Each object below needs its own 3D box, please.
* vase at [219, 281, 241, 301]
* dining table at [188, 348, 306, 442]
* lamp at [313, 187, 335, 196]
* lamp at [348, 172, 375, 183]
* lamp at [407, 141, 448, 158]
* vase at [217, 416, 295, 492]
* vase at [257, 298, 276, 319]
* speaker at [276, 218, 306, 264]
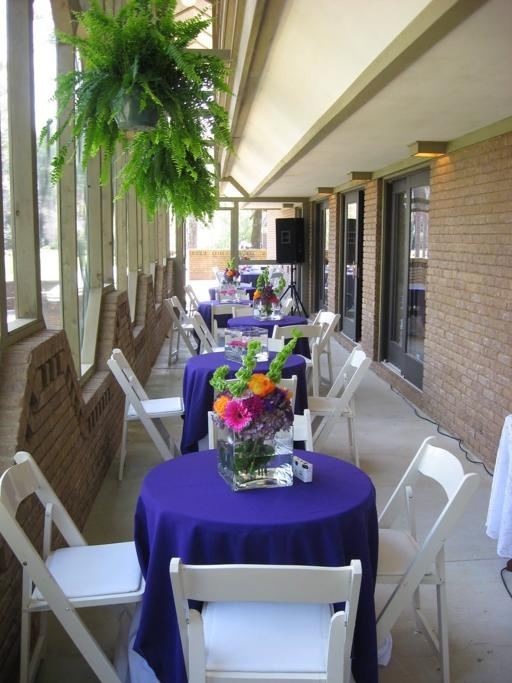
[{"bbox_3d":[-0.474,-0.897,8.721,0.437,0.397,0.454,4,-3,-10],"label":"vase"},{"bbox_3d":[-0.187,0.368,3.900,0.663,0.772,0.694,0,8,-3],"label":"dining table"},{"bbox_3d":[1.457,-3.169,10.538,0.330,0.126,0.884,1,9,5],"label":"lamp"},{"bbox_3d":[1.599,-2.503,7.524,0.348,0.128,0.209,3,9,14],"label":"lamp"},{"bbox_3d":[1.714,-1.928,4.981,0.315,0.144,0.306,1,9,1],"label":"lamp"},{"bbox_3d":[-0.001,0.341,1.727,0.222,0.259,0.242,0,11,-5],"label":"vase"},{"bbox_3d":[0.116,-0.437,6.237,0.169,0.428,0.217,0,1,-10],"label":"vase"},{"bbox_3d":[0.809,-2.438,12.011,0.656,1.038,0.496,0,9,0],"label":"speaker"}]
